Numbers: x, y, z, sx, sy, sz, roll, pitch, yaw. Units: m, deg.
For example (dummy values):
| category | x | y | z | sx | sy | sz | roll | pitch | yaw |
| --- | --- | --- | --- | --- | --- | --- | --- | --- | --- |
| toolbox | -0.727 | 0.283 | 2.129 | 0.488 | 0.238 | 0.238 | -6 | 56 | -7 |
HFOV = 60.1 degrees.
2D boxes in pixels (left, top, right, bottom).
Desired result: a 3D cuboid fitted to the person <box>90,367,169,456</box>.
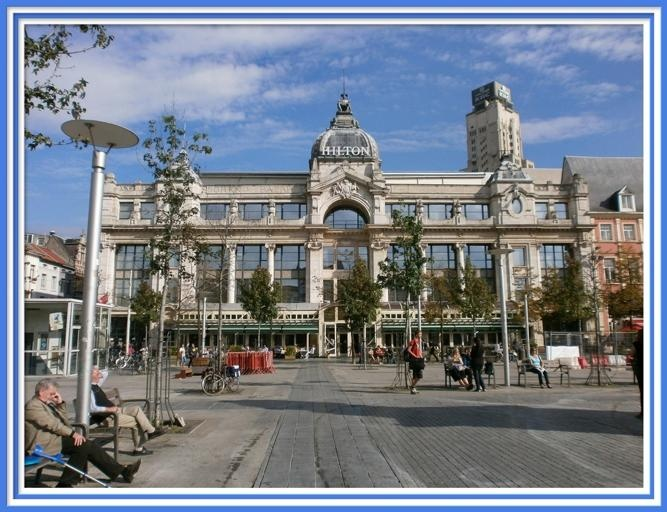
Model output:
| category | x | y | z | sx | sy | sz | roll | pitch | yaw |
| --- | --- | --- | --- | --- | --- | --- | --- | --- | --- |
| person | -3.651 | 2.733 | 9.997 | 1.397 | 0.997 | 1.963 | 0 | -7 | -7 |

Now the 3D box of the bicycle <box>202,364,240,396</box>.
| category | x | y | z | sx | sy | sz | roll | pitch | yaw |
| --- | --- | --- | --- | --- | --- | --- | --- | --- | --- |
| bicycle | -3.706 | 4.162 | 19.213 | 0.747 | 0.856 | 1.504 | -4 | -1 | 32 |

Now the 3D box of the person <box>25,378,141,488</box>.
| category | x | y | z | sx | sy | sz | roll | pitch | yaw |
| --- | --- | --- | --- | --- | --- | --- | --- | --- | --- |
| person | -3.574 | 2.580 | 8.283 | 1.719 | 1.377 | 0.798 | 11 | -15 | -15 |

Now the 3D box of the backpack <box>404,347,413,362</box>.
| category | x | y | z | sx | sy | sz | roll | pitch | yaw |
| --- | --- | --- | --- | --- | --- | --- | --- | --- | --- |
| backpack | 2.377 | 3.142 | 18.317 | 0.177 | 0.409 | 0.403 | 1 | -8 | -12 |
